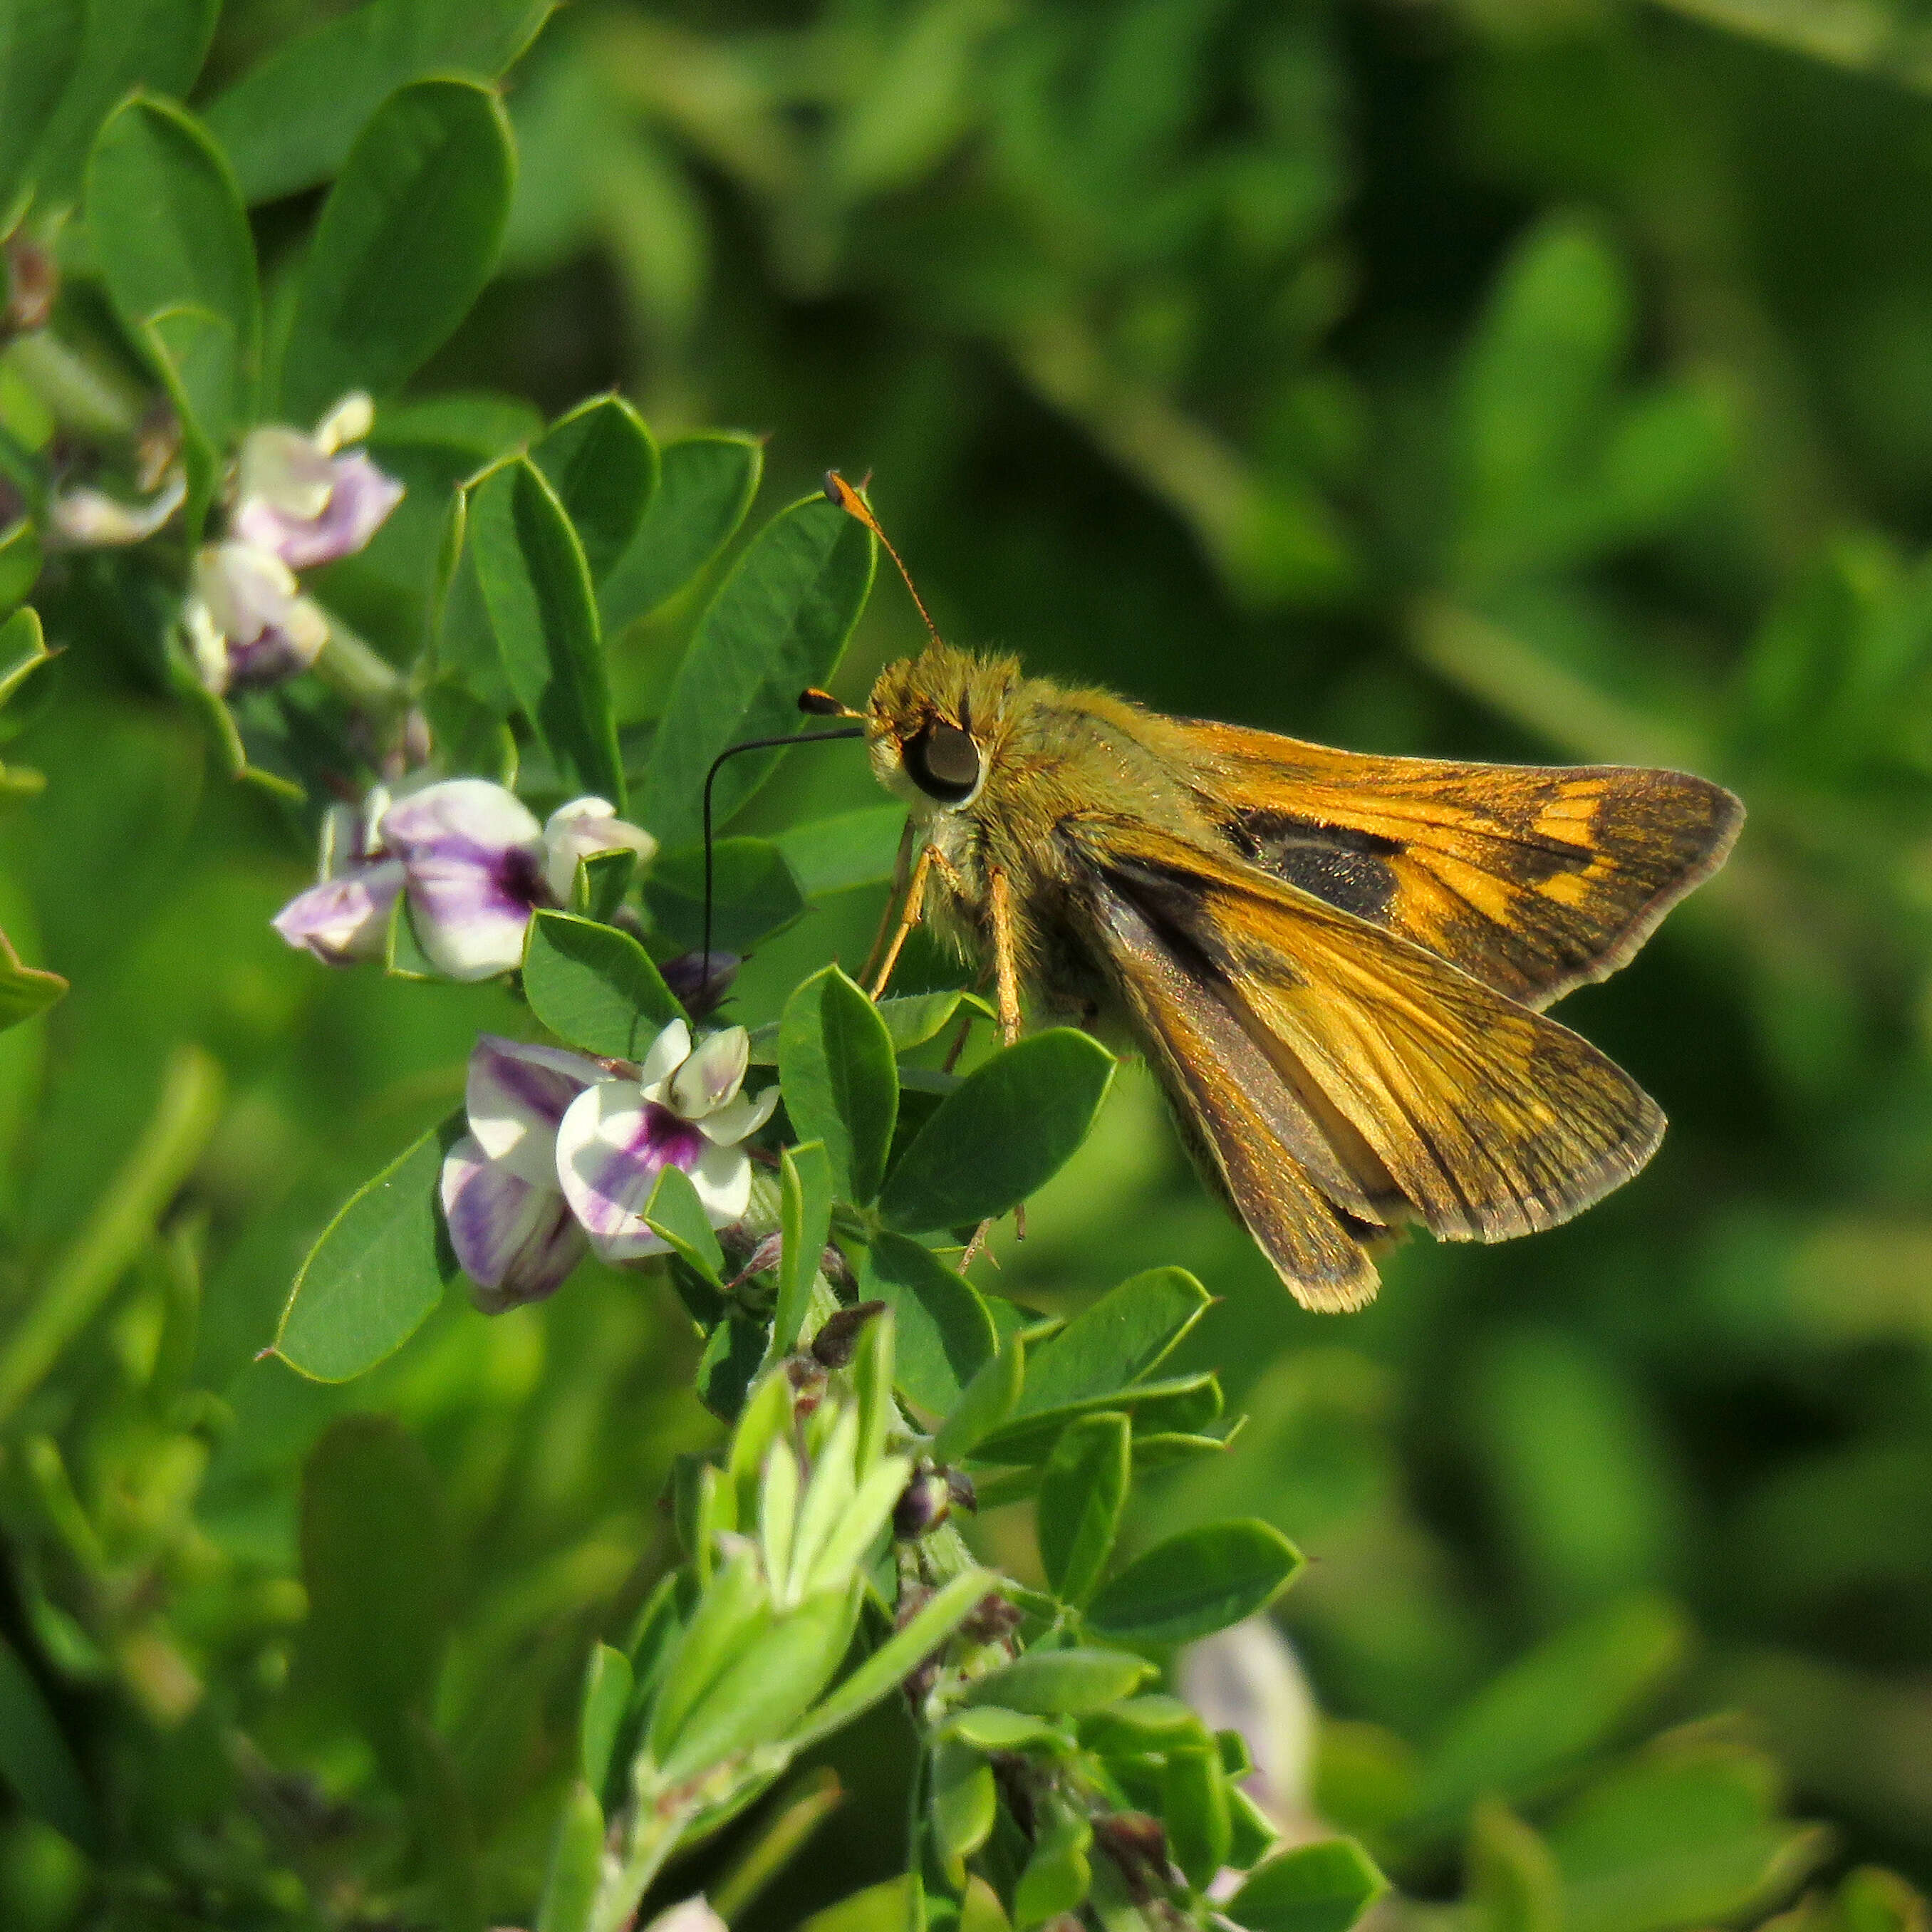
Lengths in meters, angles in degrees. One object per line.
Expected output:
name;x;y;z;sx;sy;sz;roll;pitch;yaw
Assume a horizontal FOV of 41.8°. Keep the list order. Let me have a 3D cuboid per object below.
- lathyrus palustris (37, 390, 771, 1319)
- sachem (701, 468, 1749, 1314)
lathyrus palustris;-0.313;-0.107;1.586;0.296;0.471;0.543;16;11;-43
sachem;0.183;0.062;2.462;0.856;0.888;0.624;0;31;-15
